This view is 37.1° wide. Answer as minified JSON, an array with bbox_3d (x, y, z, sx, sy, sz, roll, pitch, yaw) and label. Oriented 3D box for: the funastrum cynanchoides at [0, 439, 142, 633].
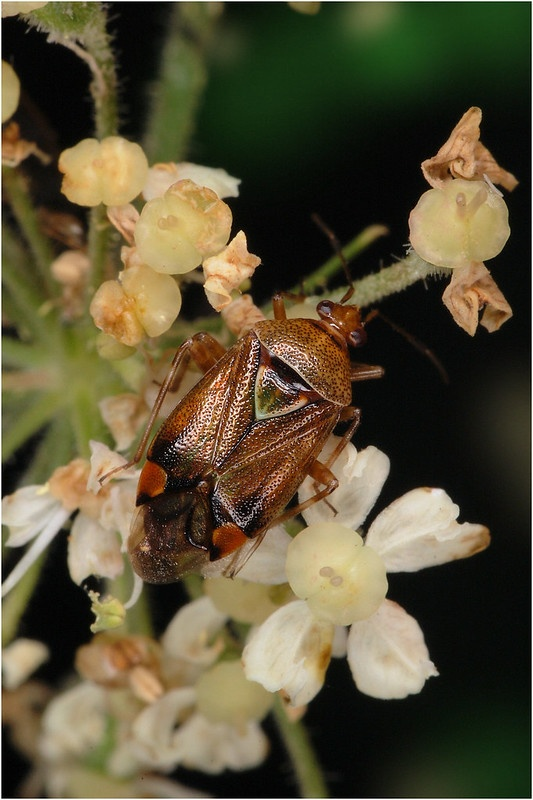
[{"bbox_3d":[-0.631,0.388,2.541,0.528,0.527,0.164,48,24,13],"label":"funastrum cynanchoides"}]
